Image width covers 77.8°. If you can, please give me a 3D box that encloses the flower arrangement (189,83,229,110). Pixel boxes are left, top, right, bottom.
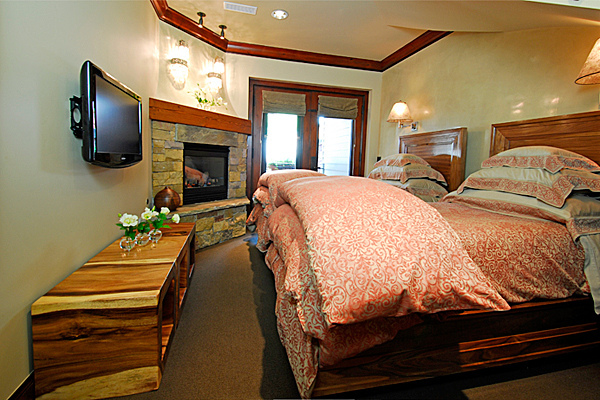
[{"bbox_3d":[-1.163,-1.278,4.759,0.322,0.136,0.339,10,-2,42],"label":"flower arrangement"}]

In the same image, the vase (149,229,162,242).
[{"bbox_3d":[-1.136,0.264,2.893,0.081,0.098,0.086,-3,9,-21],"label":"vase"}]

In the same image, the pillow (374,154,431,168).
[{"bbox_3d":[1.182,-0.444,4.176,0.332,0.106,0.372,-5,10,-8],"label":"pillow"}]

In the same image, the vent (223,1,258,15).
[{"bbox_3d":[-0.684,-2.188,4.235,0.390,0.057,0.198,-1,8,-10],"label":"vent"}]

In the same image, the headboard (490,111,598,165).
[{"bbox_3d":[2.180,-0.503,3.208,0.447,0.393,0.818,3,5,-14],"label":"headboard"}]

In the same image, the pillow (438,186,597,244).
[{"bbox_3d":[1.609,0.086,2.754,0.839,0.293,1.393,2,3,-12],"label":"pillow"}]

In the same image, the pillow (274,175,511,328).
[{"bbox_3d":[0.493,0.260,2.188,1.028,0.700,0.682,0,9,-8],"label":"pillow"}]

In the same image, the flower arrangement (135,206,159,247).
[{"bbox_3d":[-1.252,0.170,3.016,0.181,0.270,0.634,-3,9,-23],"label":"flower arrangement"}]

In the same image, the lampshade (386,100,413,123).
[{"bbox_3d":[1.336,-1.168,4.973,0.291,0.263,0.306,-2,8,2],"label":"lampshade"}]

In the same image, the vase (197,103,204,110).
[{"bbox_3d":[-1.239,-1.164,4.609,0.077,0.054,0.074,-2,9,-18],"label":"vase"}]

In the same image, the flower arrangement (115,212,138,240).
[{"bbox_3d":[-1.224,0.155,2.631,0.185,0.075,0.199,0,31,-32],"label":"flower arrangement"}]
